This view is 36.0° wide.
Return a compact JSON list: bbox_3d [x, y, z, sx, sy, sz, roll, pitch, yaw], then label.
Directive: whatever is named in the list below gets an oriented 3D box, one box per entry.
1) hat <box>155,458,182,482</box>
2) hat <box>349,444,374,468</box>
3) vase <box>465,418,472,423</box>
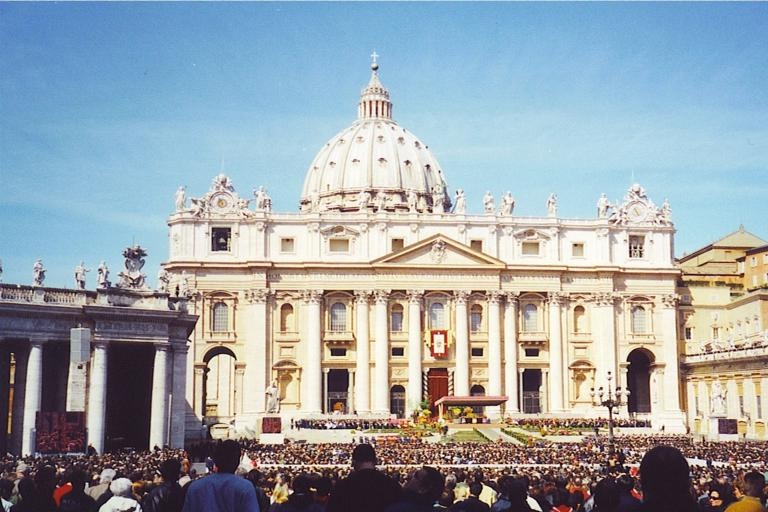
[{"bbox_3d":[-8.637,8.482,46.934,0.720,0.913,0.911,2,-7,-2],"label":"hat"},{"bbox_3d":[-0.772,7.259,42.732,0.763,0.857,0.865,2,-1,-1],"label":"hat"},{"bbox_3d":[7.938,15.412,110.496,0.630,0.434,0.343,-3,6,1],"label":"vase"}]
